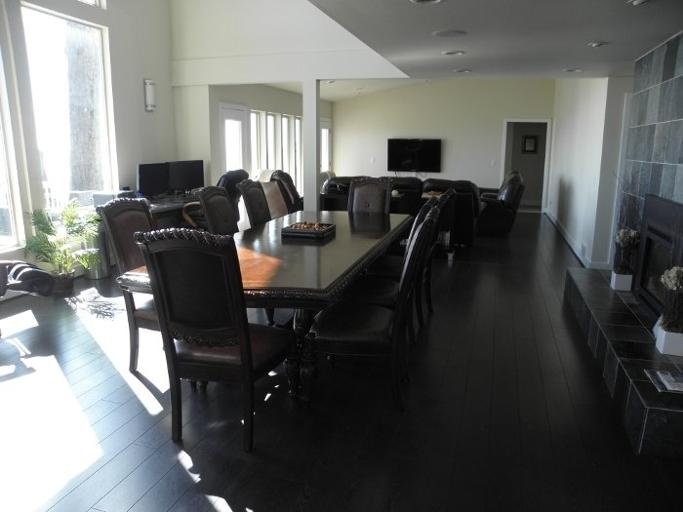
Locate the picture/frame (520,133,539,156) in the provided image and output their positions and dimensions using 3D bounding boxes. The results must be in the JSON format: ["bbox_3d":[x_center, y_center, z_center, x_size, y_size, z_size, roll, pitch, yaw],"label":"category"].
[{"bbox_3d":[5.274,-3.155,12.768,0.537,0.751,0.072,2,6,11],"label":"picture/frame"}]

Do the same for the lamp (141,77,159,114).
[{"bbox_3d":[-2.807,-2.370,6.712,0.102,0.458,0.246,0,14,6],"label":"lamp"}]

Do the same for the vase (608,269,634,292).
[{"bbox_3d":[2.470,0.232,4.071,0.197,0.219,0.145,5,13,23],"label":"vase"}]

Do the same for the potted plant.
[{"bbox_3d":[-3.060,-0.152,5.372,0.885,1.197,0.986,-5,13,-8],"label":"potted plant"}]
